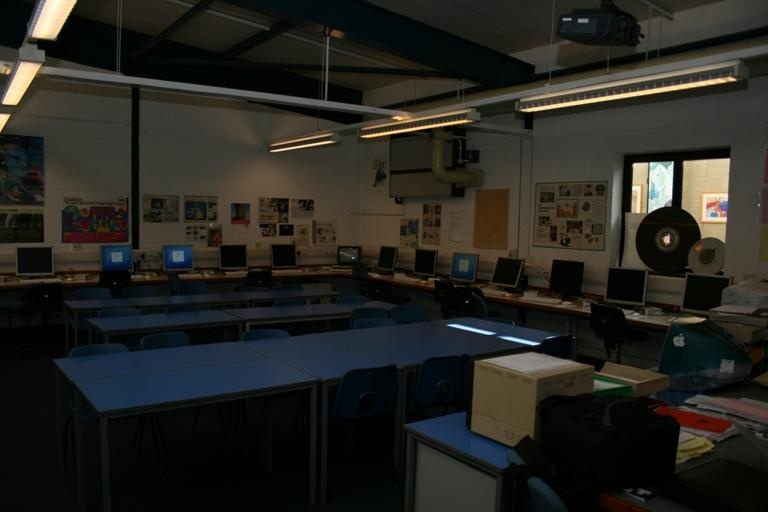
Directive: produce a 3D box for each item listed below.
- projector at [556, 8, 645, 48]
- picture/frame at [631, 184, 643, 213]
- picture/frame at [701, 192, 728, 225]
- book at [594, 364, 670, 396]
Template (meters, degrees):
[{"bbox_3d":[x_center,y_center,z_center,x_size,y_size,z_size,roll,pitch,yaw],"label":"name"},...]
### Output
[{"bbox_3d":[1.873,-1.949,4.830,0.541,0.182,0.407,8,9,41],"label":"projector"},{"bbox_3d":[3.514,-0.806,7.591,0.199,0.357,0.055,-5,14,-23],"label":"picture/frame"},{"bbox_3d":[4.777,-0.707,7.859,0.043,0.531,0.529,-4,7,-38],"label":"picture/frame"},{"bbox_3d":[1.809,0.881,3.941,0.334,0.081,0.354,-4,10,-34],"label":"book"}]
